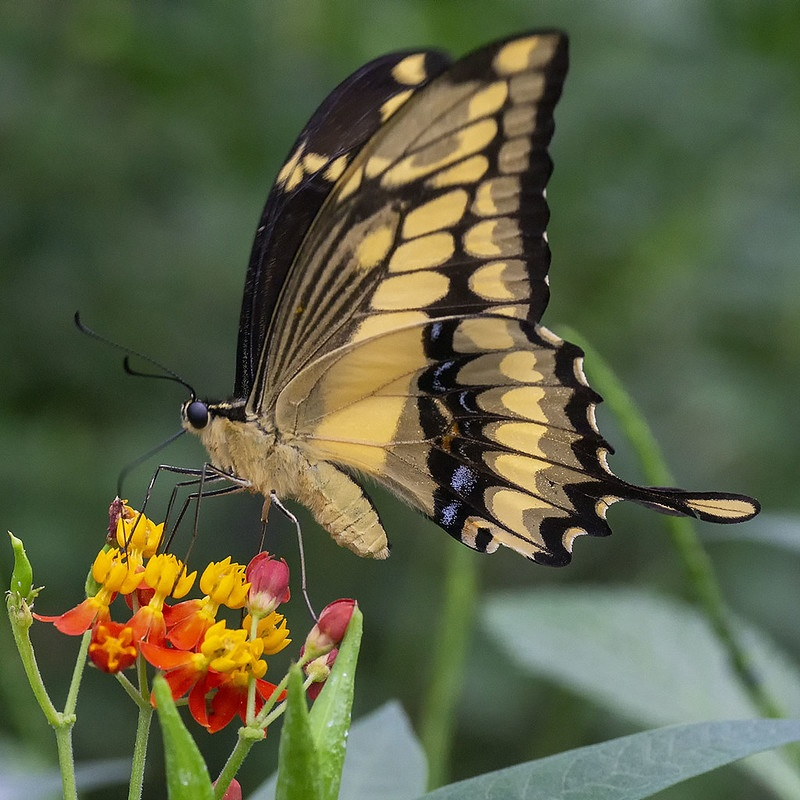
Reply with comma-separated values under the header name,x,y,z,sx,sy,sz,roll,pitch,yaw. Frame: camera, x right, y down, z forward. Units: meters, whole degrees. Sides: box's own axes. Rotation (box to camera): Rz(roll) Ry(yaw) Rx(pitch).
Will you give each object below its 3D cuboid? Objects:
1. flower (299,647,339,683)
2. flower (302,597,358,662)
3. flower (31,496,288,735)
name,x,y,z,sx,sy,sz,roll,pitch,yaw
flower,-0.097,0.330,1.265,0.038,0.042,0.027,1,-22,-5
flower,-0.099,0.293,1.280,0.042,0.101,0.028,28,-53,18
flower,-0.316,0.253,1.310,0.313,0.112,0.321,34,6,31
